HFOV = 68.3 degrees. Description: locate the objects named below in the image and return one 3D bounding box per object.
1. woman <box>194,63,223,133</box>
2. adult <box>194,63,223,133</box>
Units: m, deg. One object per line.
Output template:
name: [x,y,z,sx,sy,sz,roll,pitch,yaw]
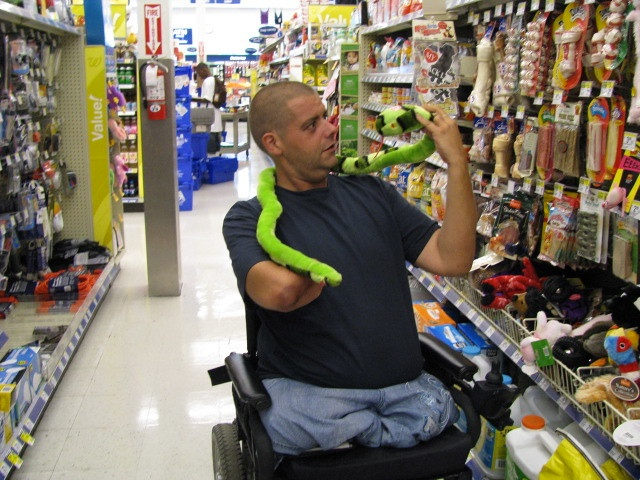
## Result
woman: [-2.436,-2.760,10.002,0.693,1.873,0.723,0,27,-12]
adult: [-2.315,-2.989,10.071,0.547,1.518,1.987,-7,19,-13]
